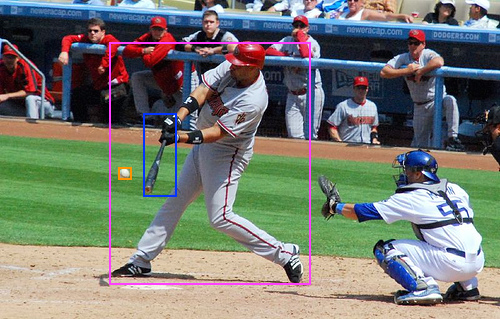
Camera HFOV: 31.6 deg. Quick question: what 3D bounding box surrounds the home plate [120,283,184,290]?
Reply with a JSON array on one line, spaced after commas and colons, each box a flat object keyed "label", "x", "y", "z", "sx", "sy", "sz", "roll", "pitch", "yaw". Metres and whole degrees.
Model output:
[{"label": "home plate", "x": -1.205, "y": 1.562, "z": 10.766, "sx": 0.724, "sy": 0.037, "sz": 0.160, "roll": 3, "pitch": 5, "yaw": -3}]

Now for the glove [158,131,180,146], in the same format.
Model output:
[{"label": "glove", "x": -1.004, "y": -0.245, "z": 10.700, "sx": 0.182, "sy": 0.168, "sz": 0.304, "roll": 1, "pitch": 6, "yaw": -26}]

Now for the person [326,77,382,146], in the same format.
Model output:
[{"label": "person", "x": 1.822, "y": -0.841, "z": 15.922, "sx": 0.966, "sy": 1.174, "sz": 1.459, "roll": 1, "pitch": 2, "yaw": 2}]

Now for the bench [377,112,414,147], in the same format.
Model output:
[{"label": "bench", "x": 2.572, "y": -0.530, "z": 15.668, "sx": 0.700, "sy": 0.587, "sz": 0.345, "roll": 0, "pitch": 2, "yaw": 15}]

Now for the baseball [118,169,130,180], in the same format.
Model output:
[{"label": "baseball", "x": -1.698, "y": 0.215, "z": 11.838, "sx": 0.123, "sy": 0.127, "sz": 0.143, "roll": 10, "pitch": 16, "yaw": -7}]

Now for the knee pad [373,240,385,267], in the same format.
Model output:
[{"label": "knee pad", "x": 1.552, "y": 1.148, "z": 10.757, "sx": 0.130, "sy": 0.294, "sz": 0.176, "roll": 4, "pitch": 6, "yaw": 5}]
